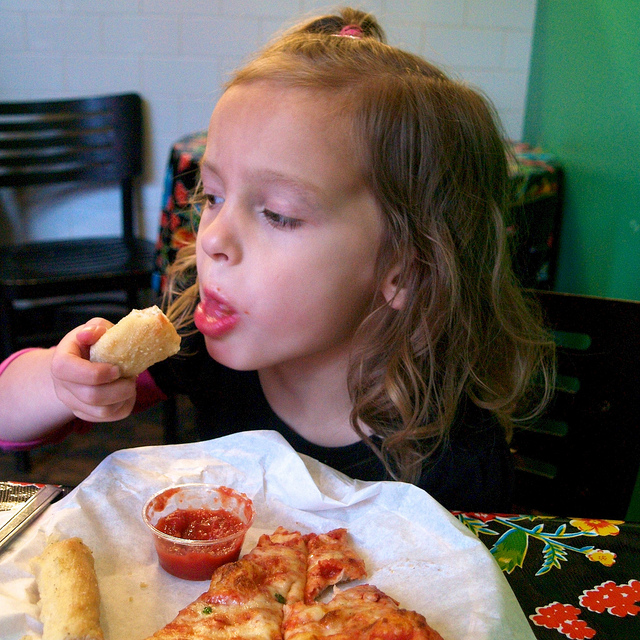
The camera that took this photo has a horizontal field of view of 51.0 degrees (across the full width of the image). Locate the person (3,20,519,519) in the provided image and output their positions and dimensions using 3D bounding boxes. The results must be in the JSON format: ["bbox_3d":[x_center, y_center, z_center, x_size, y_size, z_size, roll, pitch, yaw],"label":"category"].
[{"bbox_3d":[0.034,-0.084,1.292,0.796,0.922,0.429,-1,15,-7],"label":"person"}]

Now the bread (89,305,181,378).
[{"bbox_3d":[-0.310,0.041,1.074,0.168,0.131,0.079,9,17,28],"label":"bread"}]
